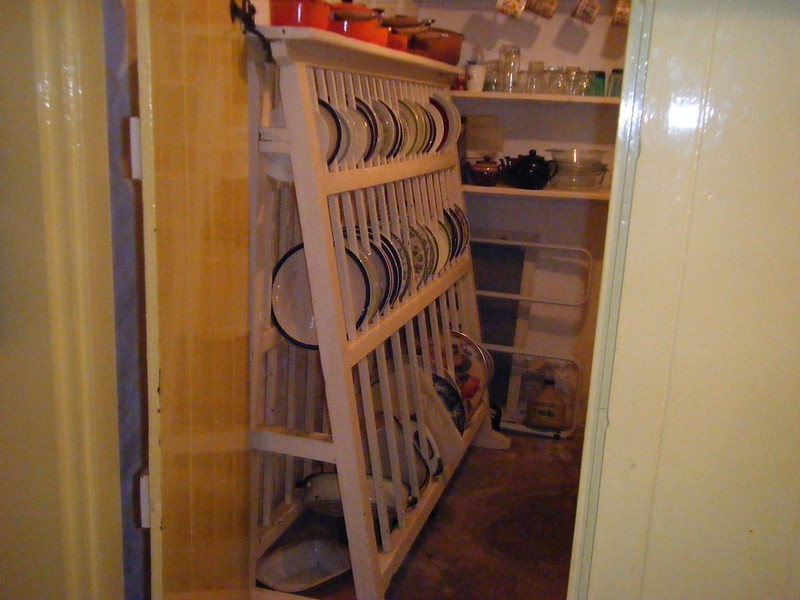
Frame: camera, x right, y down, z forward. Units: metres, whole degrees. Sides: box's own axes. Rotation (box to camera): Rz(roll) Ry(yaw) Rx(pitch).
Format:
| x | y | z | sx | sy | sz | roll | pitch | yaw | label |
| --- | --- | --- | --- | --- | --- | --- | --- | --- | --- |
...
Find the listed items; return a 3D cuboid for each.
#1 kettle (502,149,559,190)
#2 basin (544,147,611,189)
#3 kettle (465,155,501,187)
| x | y | z | sx | sy | sz | roll | pitch | yaw | label |
| --- | --- | --- | --- | --- | --- | --- | --- | --- | --- |
| 0.593 | -0.584 | 3.328 | 0.255 | 0.171 | 0.168 | -1 | 23 | -5 | kettle |
| 0.797 | -0.578 | 3.281 | 0.217 | 0.132 | 0.209 | 1 | 13 | 0 | basin |
| 0.372 | -0.582 | 3.383 | 0.164 | 0.128 | 0.157 | 2 | 14 | -5 | kettle |
